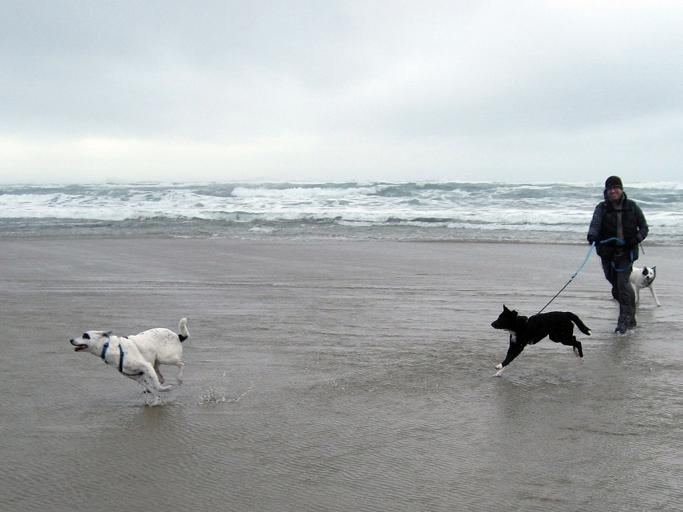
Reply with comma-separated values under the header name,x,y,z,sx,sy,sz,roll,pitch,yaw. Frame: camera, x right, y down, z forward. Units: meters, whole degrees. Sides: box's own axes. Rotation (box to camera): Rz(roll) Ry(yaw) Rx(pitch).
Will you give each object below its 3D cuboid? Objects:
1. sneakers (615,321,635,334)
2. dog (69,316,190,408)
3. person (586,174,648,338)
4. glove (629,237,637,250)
name,x,y,z,sx,sy,sz,roll,pitch,yaw
sneakers,4.197,1.050,9.264,0.142,0.154,0.435,-12,-7,44
dog,-2.258,1.191,6.872,0.487,0.753,1.423,-12,-6,39
person,4.153,-0.067,9.401,0.806,2.351,1.059,5,17,21
glove,4.403,-0.191,9.324,0.093,0.188,0.221,11,18,37
